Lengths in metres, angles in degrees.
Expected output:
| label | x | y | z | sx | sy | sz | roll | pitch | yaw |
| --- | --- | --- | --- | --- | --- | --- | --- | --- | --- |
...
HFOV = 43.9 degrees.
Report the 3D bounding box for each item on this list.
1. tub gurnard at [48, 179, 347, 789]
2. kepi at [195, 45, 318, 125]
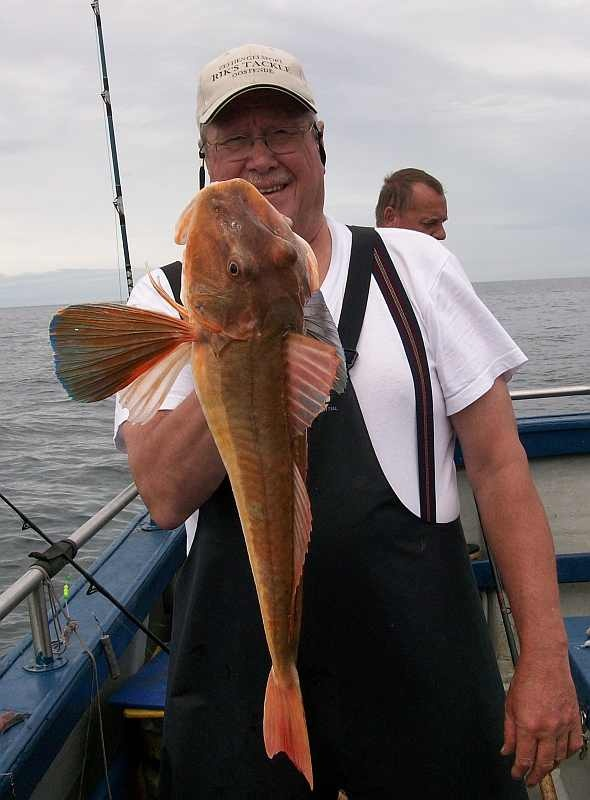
| label | x | y | z | sx | sy | sz | roll | pitch | yaw |
| --- | --- | --- | --- | --- | --- | --- | --- | --- | --- |
| tub gurnard | -0.130 | 0.143 | 1.128 | 0.394 | 0.926 | 0.177 | -8 | 10 | -13 |
| kepi | -0.089 | -0.685 | 1.587 | 0.270 | 0.156 | 0.317 | -9 | 16 | -6 |
